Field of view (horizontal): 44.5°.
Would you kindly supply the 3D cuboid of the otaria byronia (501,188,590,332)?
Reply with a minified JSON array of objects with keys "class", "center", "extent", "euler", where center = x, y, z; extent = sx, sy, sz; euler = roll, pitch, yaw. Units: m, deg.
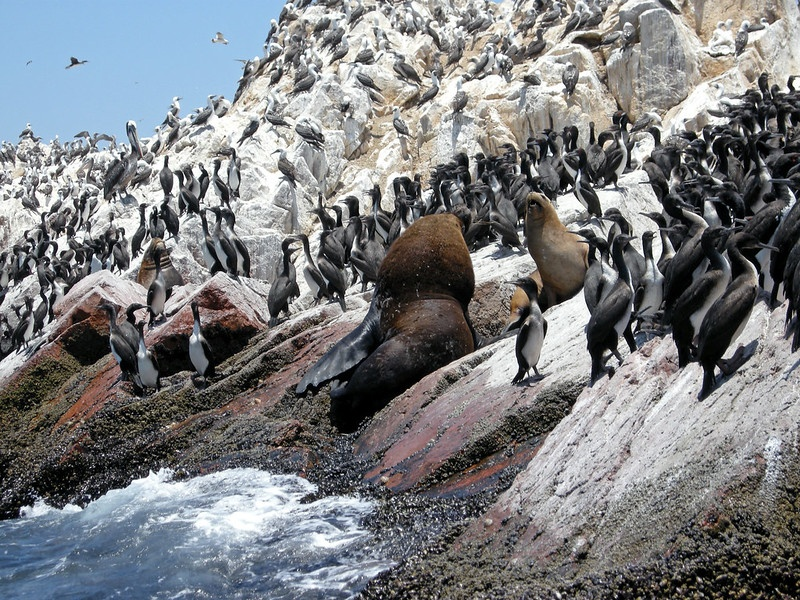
[{"class":"otaria byronia","center":[2.017,-0.556,13.409],"extent":[0.762,2.300,1.052],"euler":[-22,-11,39]}]
